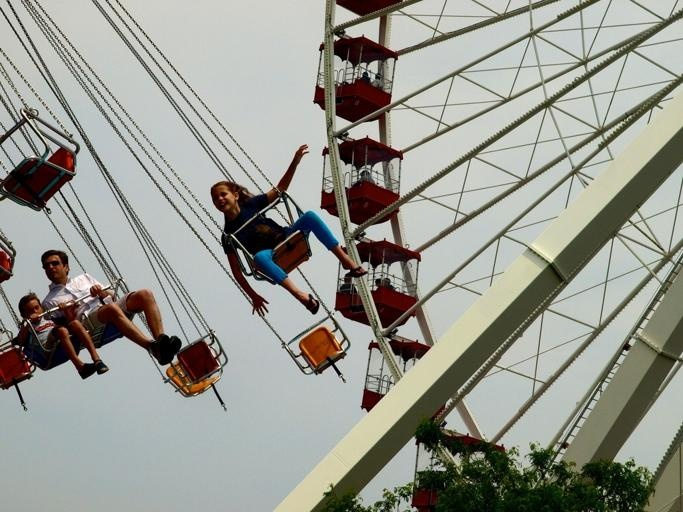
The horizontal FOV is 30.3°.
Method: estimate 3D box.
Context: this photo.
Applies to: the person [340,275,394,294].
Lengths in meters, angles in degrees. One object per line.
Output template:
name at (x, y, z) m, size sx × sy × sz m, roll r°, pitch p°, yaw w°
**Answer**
person at (0.712, 0.771, 33.866) m, size 1.253 × 1.128 × 0.342 m, roll -173°, pitch -97°, yaw -68°
